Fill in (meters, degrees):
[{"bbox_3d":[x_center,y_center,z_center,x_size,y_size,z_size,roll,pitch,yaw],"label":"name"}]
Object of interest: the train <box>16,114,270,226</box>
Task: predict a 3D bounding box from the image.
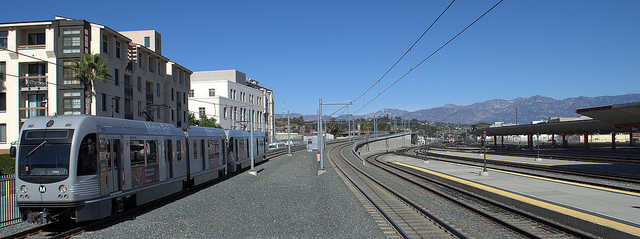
[{"bbox_3d":[-28.027,6.609,49.776,25.512,14.889,6.578,-4,6,-36],"label":"train"}]
